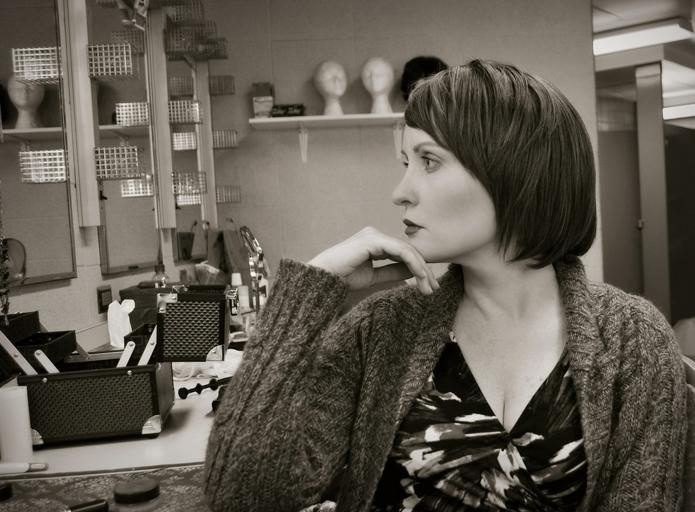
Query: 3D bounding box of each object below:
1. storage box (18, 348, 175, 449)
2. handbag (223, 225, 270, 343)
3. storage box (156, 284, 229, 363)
[{"bbox_3d":[-0.757,0.416,2.060,0.505,0.217,0.510,-6,4,-45],"label":"storage box"},{"bbox_3d":[-0.514,0.133,3.333,0.137,0.431,0.396,-5,29,-8],"label":"handbag"},{"bbox_3d":[-0.476,0.170,2.014,0.230,0.210,0.248,5,18,-10],"label":"storage box"}]
